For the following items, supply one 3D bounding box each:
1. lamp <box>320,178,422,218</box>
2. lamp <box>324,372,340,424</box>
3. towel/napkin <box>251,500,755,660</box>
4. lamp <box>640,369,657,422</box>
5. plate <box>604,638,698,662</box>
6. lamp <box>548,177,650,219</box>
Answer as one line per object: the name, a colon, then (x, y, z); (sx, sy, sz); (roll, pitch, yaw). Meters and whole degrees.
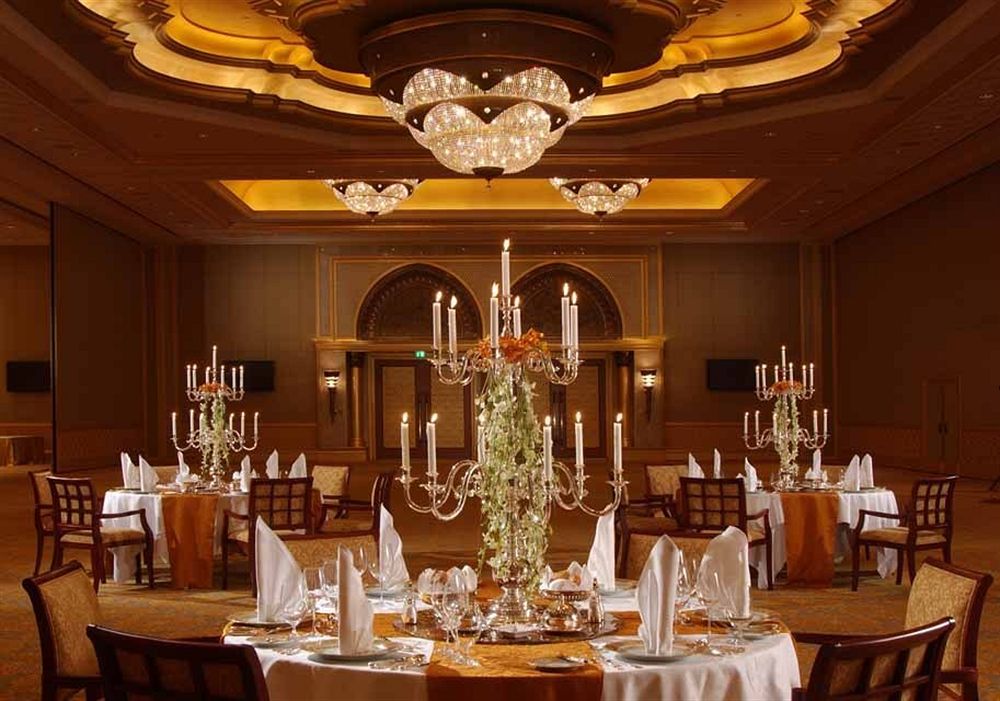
lamp: (-2.196, -2.641, 13.578); (0.912, 0.361, 0.889); (-2, -6, 5)
lamp: (-4.073, 1.083, 19.090); (0.388, 1.183, 0.145); (1, -5, -12)
towel/napkin: (0.016, 1.106, 3.867); (2.375, 0.565, 0.999); (0, -7, -2)
lamp: (3.546, 1.049, 19.076); (0.371, 1.154, 0.192); (-1, -5, 11)
plate: (0.654, 1.309, 3.489); (0.402, 0.049, 0.244); (-2, -7, 15)
lamp: (1.704, -2.659, 13.594); (0.996, 0.397, 0.982); (-3, -5, 17)
